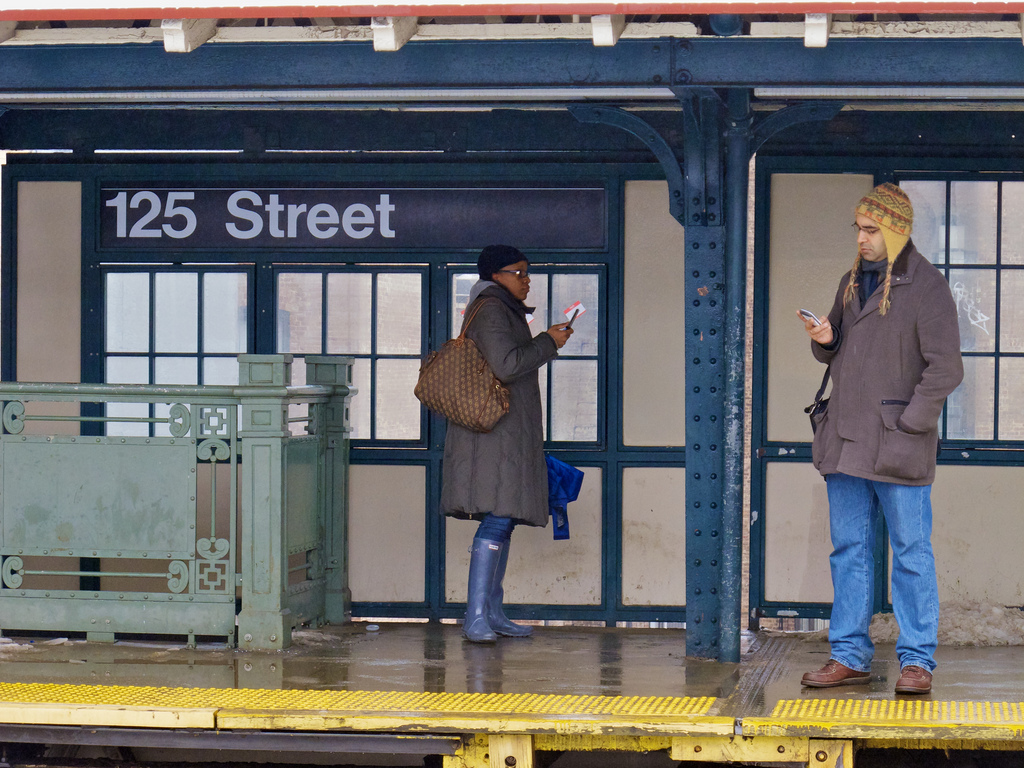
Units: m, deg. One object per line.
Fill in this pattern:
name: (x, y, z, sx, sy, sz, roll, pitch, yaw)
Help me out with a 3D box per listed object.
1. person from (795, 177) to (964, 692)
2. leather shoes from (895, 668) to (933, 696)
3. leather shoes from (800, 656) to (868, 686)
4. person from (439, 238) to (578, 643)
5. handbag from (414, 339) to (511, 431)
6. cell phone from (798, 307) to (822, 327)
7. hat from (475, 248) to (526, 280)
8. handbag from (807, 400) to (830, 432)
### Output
person: (2.089, 0.305, 14.097, 0.911, 2.817, 0.392, -6, -8, 44)
leather shoes: (2.225, 1.631, 13.992, 0.216, 0.162, 0.145, 0, -5, -7)
leather shoes: (1.796, 1.614, 14.232, 0.395, 0.160, 0.140, 1, -3, -7)
person: (-0.047, 0.345, 15.330, 0.585, 2.407, 0.657, 2, -6, -30)
handbag: (-0.306, -0.008, 15.204, 0.451, 0.592, 0.204, -43, -11, 15)
cell phone: (1.743, -0.390, 14.819, 0.140, 0.033, 0.109, 26, 4, -24)
hat: (-0.090, -0.732, 15.410, 0.240, 0.173, 0.206, -2, 4, 3)
handbag: (1.777, 0.176, 14.372, 0.146, 0.188, 0.163, 1, 5, 10)
